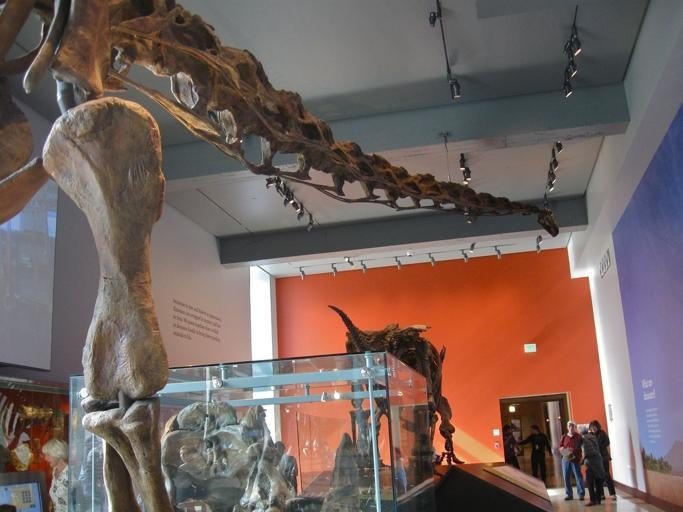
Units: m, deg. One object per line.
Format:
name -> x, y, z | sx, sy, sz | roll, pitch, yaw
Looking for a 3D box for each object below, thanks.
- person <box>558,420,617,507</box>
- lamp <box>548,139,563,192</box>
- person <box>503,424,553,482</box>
person -> 3.809, 3.248, 8.521 | 0.690, 1.200, 1.186 | -8, -17, 21
lamp -> 3.119, -1.355, 7.979 | 0.128, 0.156, 0.604 | 17, -48, 24
person -> 3.961, 4.187, 11.569 | 0.879, 1.216, 2.279 | -8, -17, 18
